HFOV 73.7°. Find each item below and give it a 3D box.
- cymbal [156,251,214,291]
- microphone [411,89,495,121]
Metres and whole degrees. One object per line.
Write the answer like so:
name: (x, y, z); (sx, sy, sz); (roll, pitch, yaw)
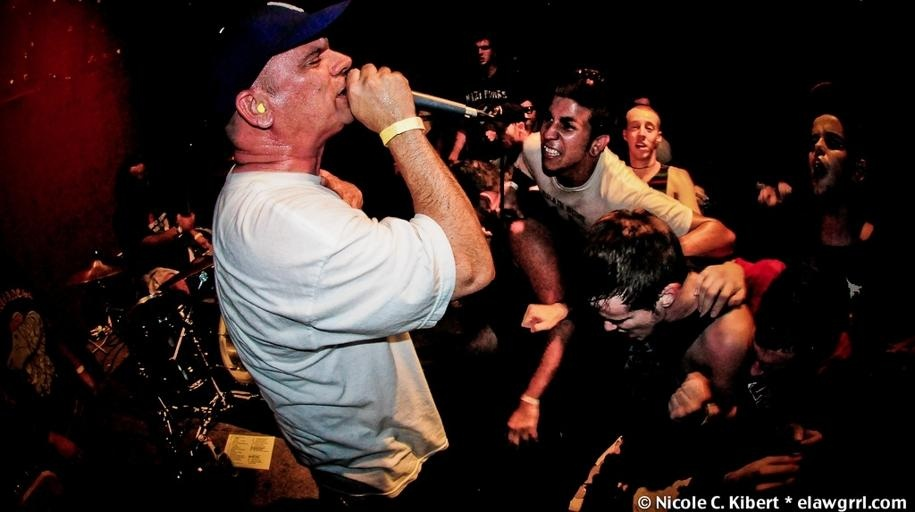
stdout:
cymbal: (-1.807, 0.122, 4.180); (0.342, 0.075, 0.316); (-30, -5, 21)
microphone: (-0.043, -0.729, 3.046); (0.265, 0.178, 0.389); (-6, 21, 8)
